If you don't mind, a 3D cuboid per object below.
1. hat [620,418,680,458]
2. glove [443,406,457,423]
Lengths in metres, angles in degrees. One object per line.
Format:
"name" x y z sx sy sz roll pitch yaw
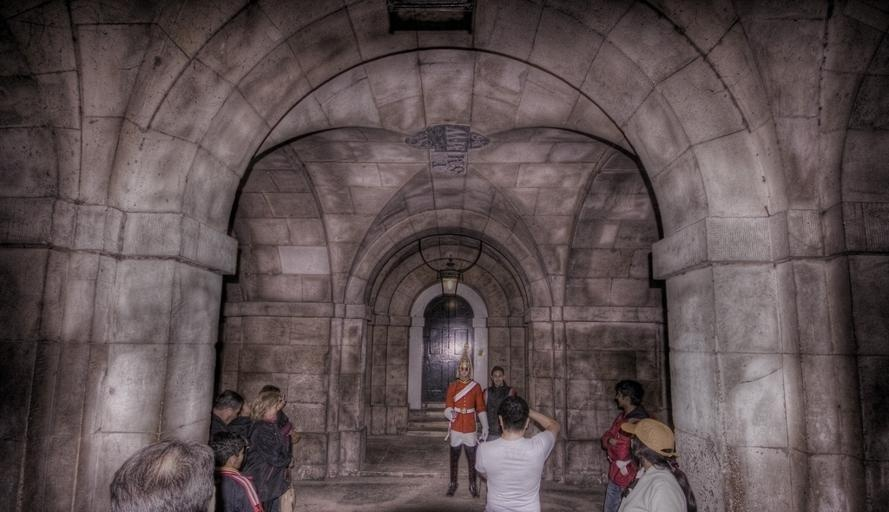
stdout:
"hat" 1.877 1.575 5.951 0.535 0.177 0.366 29 13 29
"glove" 0.114 2.416 10.080 0.179 0.216 0.236 -1 -15 2
